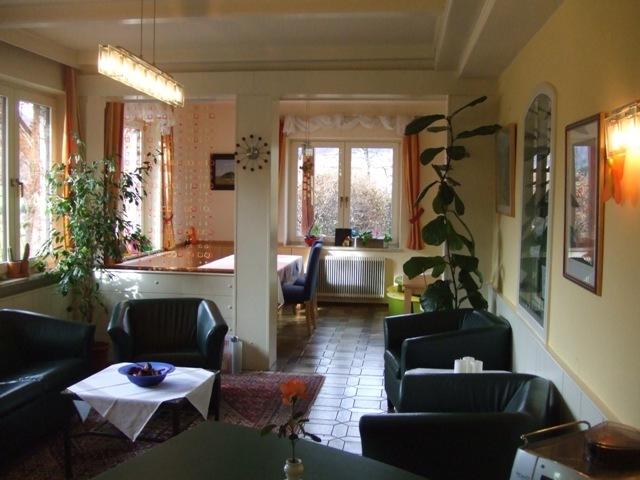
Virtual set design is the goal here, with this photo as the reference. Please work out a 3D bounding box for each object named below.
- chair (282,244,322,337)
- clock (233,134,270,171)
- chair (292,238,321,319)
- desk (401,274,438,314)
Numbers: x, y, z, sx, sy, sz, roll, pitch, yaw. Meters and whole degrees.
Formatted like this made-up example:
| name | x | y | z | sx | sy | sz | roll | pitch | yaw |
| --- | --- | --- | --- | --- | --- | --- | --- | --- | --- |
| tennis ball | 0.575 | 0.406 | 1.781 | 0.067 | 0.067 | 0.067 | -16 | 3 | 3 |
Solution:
| name | x | y | z | sx | sy | sz | roll | pitch | yaw |
| --- | --- | --- | --- | --- | --- | --- | --- | --- | --- |
| chair | -0.300 | 0.618 | 6.686 | 0.635 | 1.017 | 0.712 | 4 | 5 | 24 |
| clock | -0.710 | -0.924 | 5.111 | 0.349 | 0.391 | 0.098 | 1 | 2 | 2 |
| chair | -0.271 | 0.599 | 6.712 | 0.657 | 1.015 | 0.657 | 1 | 5 | -1 |
| desk | 1.162 | 0.578 | 5.945 | 0.506 | 0.544 | 0.537 | 0 | 3 | 4 |
